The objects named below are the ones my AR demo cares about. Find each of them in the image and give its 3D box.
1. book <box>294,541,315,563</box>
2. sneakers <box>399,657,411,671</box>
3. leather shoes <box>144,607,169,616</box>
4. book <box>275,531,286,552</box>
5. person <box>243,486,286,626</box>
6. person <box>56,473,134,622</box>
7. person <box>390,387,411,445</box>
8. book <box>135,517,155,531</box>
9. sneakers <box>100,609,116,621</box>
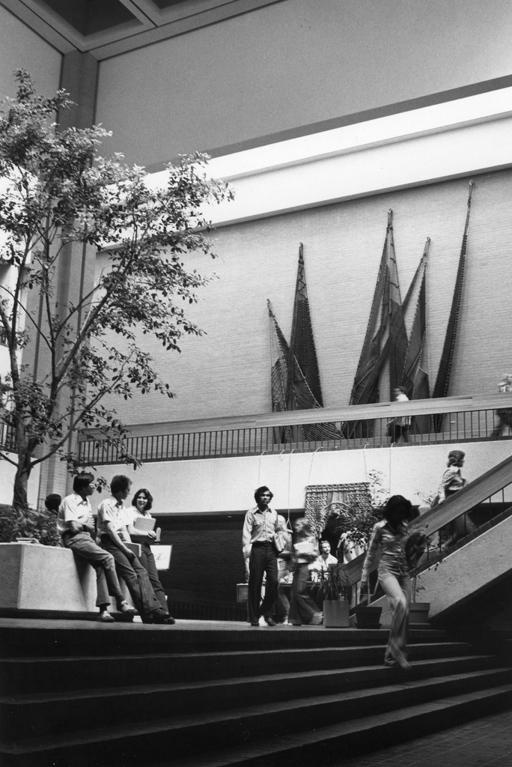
[{"bbox_3d":[0.459,1.595,7.308,0.192,0.213,0.142,2,-2,1],"label":"book"},{"bbox_3d":[1.050,1.971,5.427,0.077,0.060,0.116,7,-27,14],"label":"sneakers"},{"bbox_3d":[-0.698,1.592,5.392,0.143,0.056,0.056,-3,-11,2],"label":"leather shoes"},{"bbox_3d":[0.194,1.294,6.337,0.042,0.145,0.161,-3,-4,25],"label":"book"},{"bbox_3d":[0.058,1.441,6.334,0.341,1.164,0.547,2,-2,5],"label":"person"},{"bbox_3d":[-1.091,1.141,5.438,0.652,1.000,0.397,1,-3,42],"label":"person"},{"bbox_3d":[2.665,0.568,14.224,0.397,1.047,1.823,2,-2,11],"label":"person"},{"bbox_3d":[-0.913,1.140,6.318,0.172,0.112,0.123,8,-7,-16],"label":"book"},{"bbox_3d":[-0.998,1.561,5.214,0.105,0.092,0.208,6,-19,-20],"label":"sneakers"}]
